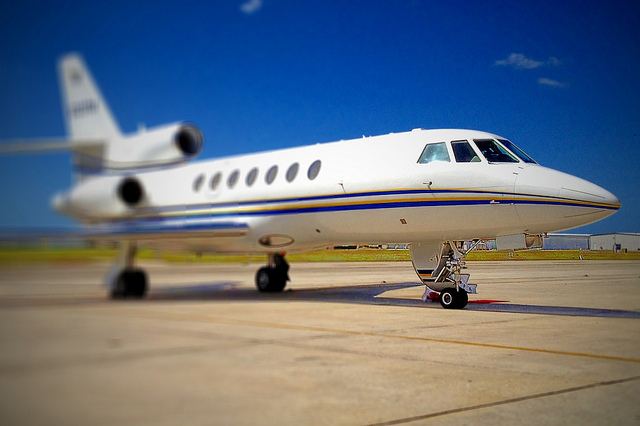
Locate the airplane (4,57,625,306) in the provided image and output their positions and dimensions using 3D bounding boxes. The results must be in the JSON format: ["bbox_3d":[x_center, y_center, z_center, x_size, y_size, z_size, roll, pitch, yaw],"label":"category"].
[{"bbox_3d":[-0.308,-1.060,12.225,14.261,6.916,4.764,0,-5,7],"label":"airplane"}]
